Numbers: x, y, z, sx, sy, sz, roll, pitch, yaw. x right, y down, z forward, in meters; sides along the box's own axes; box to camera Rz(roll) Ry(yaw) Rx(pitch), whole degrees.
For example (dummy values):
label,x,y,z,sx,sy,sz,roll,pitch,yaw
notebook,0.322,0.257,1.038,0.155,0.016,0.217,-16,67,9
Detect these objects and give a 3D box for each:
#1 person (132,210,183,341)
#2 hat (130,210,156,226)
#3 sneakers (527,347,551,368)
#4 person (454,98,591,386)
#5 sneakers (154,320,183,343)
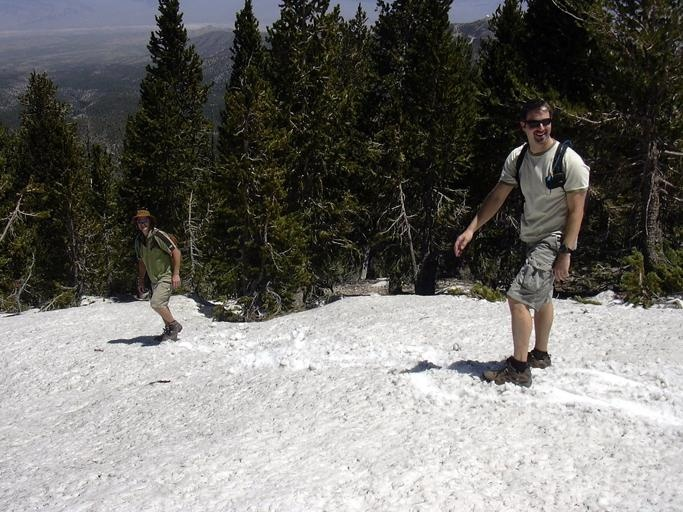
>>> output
label,x,y,z,sx,sy,sz,roll,pitch,yaw
person,-3.704,0.428,11.286,0.834,2.759,1.370,-4,11,-21
hat,-3.921,-0.760,11.005,0.375,0.318,0.465,-4,12,-22
sneakers,2.751,1.422,7.957,0.173,0.221,0.439,-3,9,-14
person,2.492,-0.136,7.432,1.297,3.723,0.669,5,11,26
sneakers,-3.602,1.610,11.750,0.580,0.318,0.279,-25,2,12
